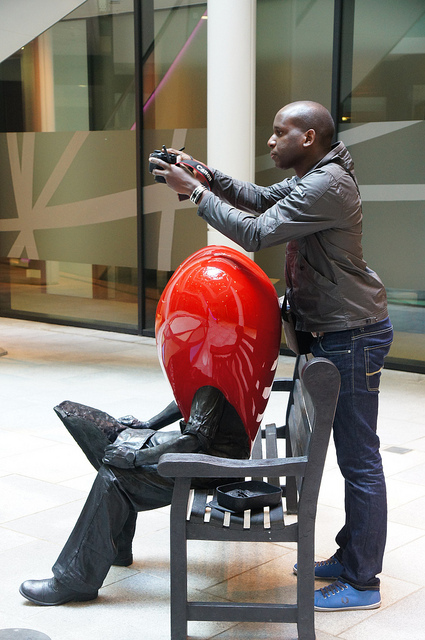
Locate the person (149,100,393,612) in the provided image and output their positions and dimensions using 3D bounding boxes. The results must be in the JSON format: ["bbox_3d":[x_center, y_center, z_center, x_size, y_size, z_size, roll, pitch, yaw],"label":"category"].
[{"bbox_3d":[0.209,0.114,2.130,0.888,1.683,0.564,2,0,7],"label":"person"}]

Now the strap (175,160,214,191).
[{"bbox_3d":[-0.048,-0.525,2.118,0.099,0.135,0.050,33,64,27],"label":"strap"}]

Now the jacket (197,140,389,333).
[{"bbox_3d":[0.268,-0.270,2.016,0.654,0.579,0.475,0,15,2],"label":"jacket"}]

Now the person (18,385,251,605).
[{"bbox_3d":[-0.299,0.662,2.161,0.691,0.899,0.415,10,20,0],"label":"person"}]

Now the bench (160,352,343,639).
[{"bbox_3d":[0.111,0.561,1.851,0.382,0.566,0.902,2,0,6],"label":"bench"}]
